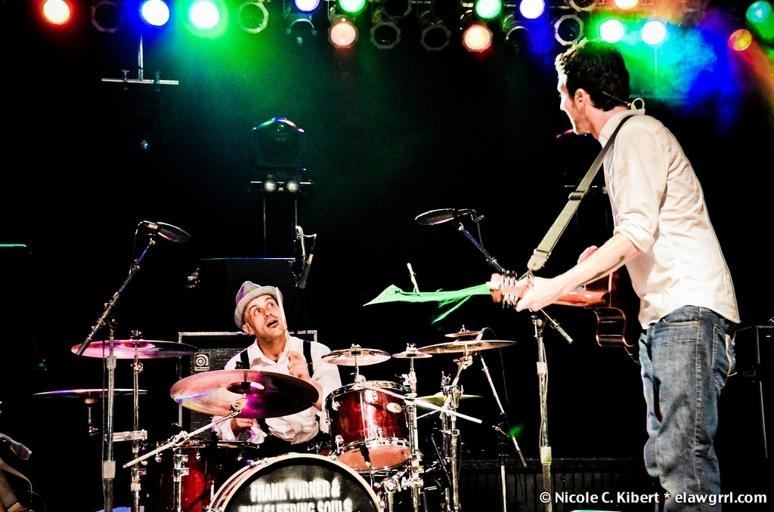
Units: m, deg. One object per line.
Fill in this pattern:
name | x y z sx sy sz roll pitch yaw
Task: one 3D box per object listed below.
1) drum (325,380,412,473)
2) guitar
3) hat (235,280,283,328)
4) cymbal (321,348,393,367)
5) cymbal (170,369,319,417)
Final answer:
drum | -0.176 1.542 9.127 0.791 0.554 0.760 -5 -26 -2
guitar | 1.365 0.273 7.726 1.058 0.708 1.538 -5 -18 7
hat | -1.282 0.456 9.704 0.404 0.170 0.455 -24 -22 -21
cymbal | -0.290 0.958 9.452 0.631 0.126 0.558 -2 -18 -1
cymbal | -1.209 1.166 8.617 0.750 0.145 0.734 -12 -36 14
